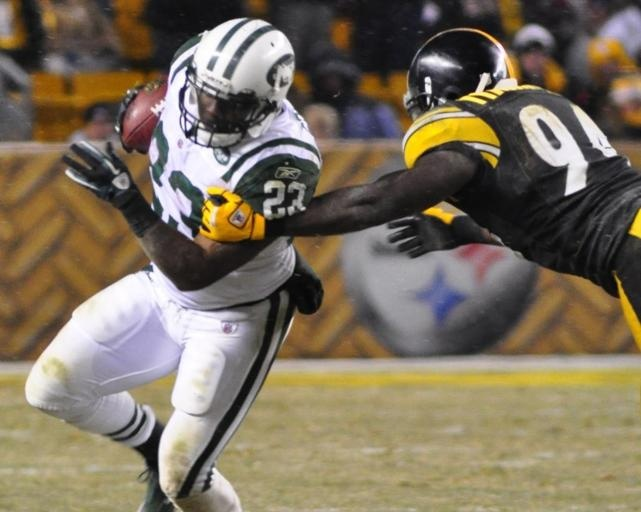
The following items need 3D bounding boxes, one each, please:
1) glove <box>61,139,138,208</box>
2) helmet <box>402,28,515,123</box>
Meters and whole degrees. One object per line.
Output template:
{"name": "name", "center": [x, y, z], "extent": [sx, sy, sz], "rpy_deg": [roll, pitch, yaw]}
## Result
{"name": "glove", "center": [-0.940, -0.355, 5.487], "extent": [0.378, 0.230, 0.161], "rpy_deg": [17, 25, 12]}
{"name": "helmet", "center": [0.606, -0.845, 5.856], "extent": [0.523, 0.421, 0.398], "rpy_deg": [21, 21, 20]}
